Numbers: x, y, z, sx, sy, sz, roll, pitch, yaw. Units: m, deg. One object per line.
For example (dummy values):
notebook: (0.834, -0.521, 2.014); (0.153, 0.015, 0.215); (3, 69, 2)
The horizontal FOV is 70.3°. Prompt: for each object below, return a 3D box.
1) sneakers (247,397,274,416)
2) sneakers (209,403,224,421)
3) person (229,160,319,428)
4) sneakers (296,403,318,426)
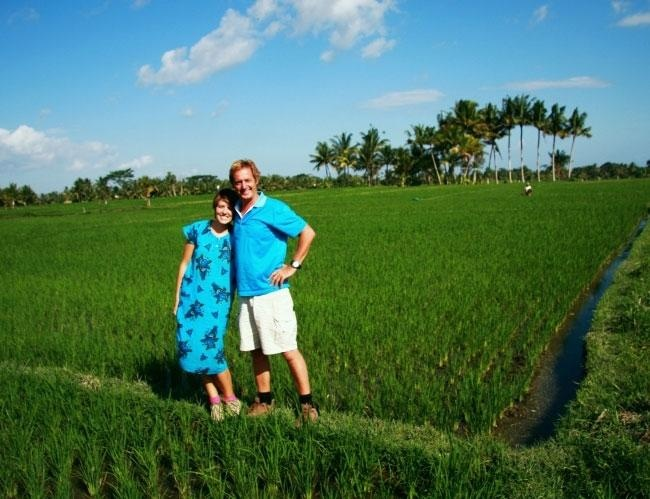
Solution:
sneakers: (-0.723, 1.747, 5.096); (0.352, 0.163, 0.119); (9, -16, -38)
sneakers: (-1.138, 1.717, 4.876); (0.117, 0.149, 0.136); (0, -23, -3)
person: (-0.560, 0.435, 4.958); (0.857, 2.732, 0.585); (-1, 9, 1)
sneakers: (-0.185, 1.729, 4.836); (0.145, 0.209, 0.338); (-6, -9, -4)
